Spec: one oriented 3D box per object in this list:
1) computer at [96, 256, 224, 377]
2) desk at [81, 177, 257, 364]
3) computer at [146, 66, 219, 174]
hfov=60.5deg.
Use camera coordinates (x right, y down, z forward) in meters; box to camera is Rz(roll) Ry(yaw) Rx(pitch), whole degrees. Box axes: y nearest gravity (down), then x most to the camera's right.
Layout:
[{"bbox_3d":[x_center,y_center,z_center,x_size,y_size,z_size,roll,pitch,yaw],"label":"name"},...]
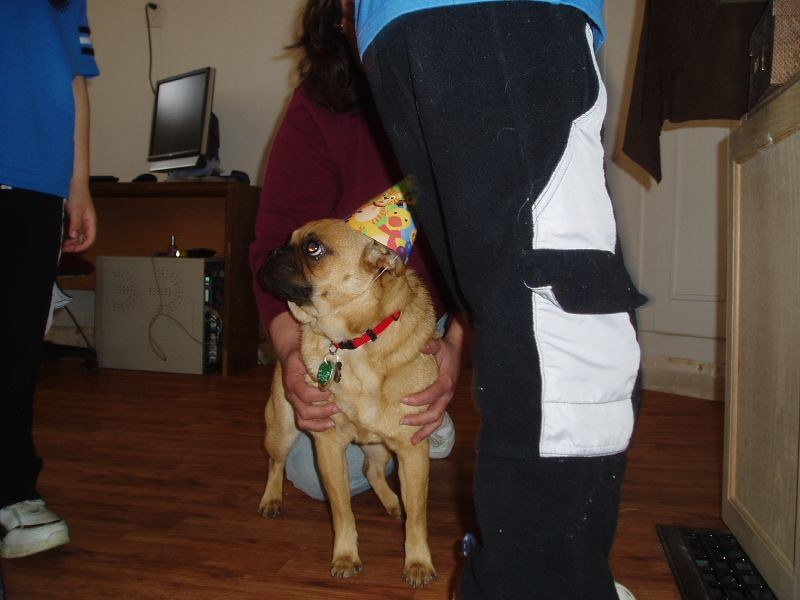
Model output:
[{"bbox_3d":[-1.633,0.055,4.637,0.739,0.740,0.422,2,5,2],"label":"computer"},{"bbox_3d":[-1.449,-0.176,4.435,0.973,1.000,0.716,-1,-29,-1],"label":"desk"},{"bbox_3d":[-1.484,-1.214,4.667,0.624,0.650,0.106,4,-4,38],"label":"computer"}]
